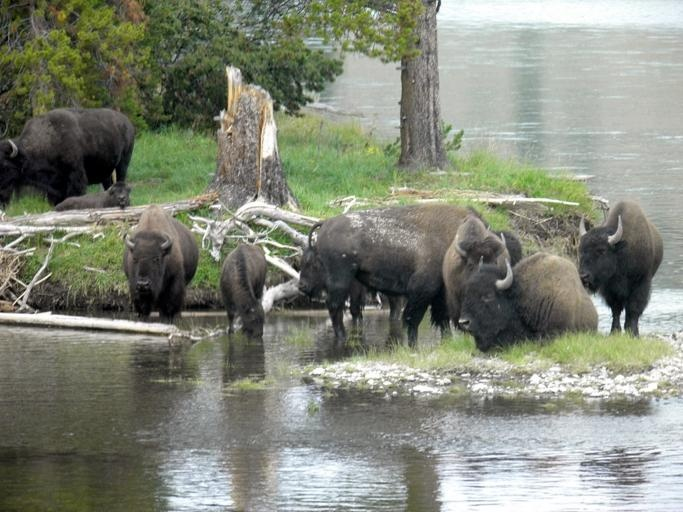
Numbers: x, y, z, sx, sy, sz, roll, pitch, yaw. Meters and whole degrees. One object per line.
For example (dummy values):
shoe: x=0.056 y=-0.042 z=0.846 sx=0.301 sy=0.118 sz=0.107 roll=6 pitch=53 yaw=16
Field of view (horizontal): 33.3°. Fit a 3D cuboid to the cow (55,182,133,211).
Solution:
cow: x=-5.913 y=-1.395 z=26.955 sx=1.648 sy=1.037 sz=0.506 roll=-6 pitch=6 yaw=19
